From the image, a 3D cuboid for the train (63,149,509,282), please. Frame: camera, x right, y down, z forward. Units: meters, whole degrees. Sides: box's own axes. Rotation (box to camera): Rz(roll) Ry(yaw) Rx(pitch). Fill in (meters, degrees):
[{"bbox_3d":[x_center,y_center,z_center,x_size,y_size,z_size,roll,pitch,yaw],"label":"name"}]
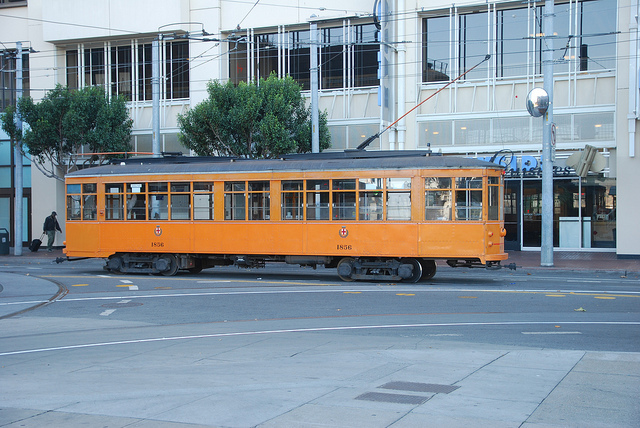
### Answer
[{"bbox_3d":[-0.997,-0.050,26.538,17.130,4.060,3.988,-1,0,6],"label":"train"}]
